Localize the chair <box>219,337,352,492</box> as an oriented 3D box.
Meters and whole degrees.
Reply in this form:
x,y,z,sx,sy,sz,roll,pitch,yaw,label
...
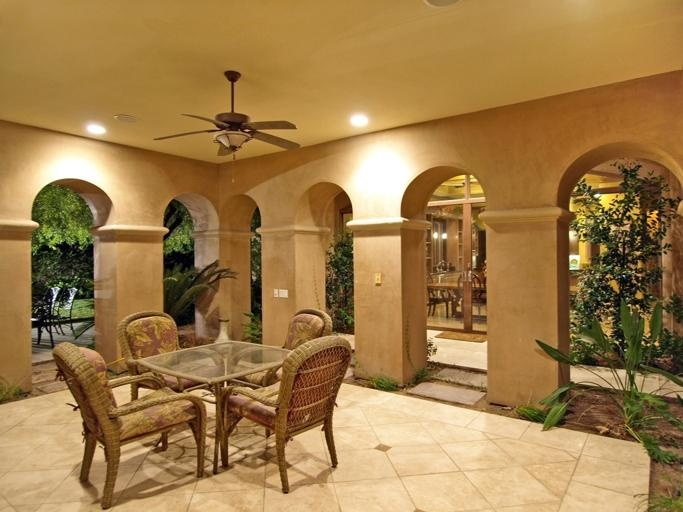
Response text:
x,y,z,sx,sy,sz,roll,pitch,yaw,label
-0.477,1.281,4.001,0.959,1.079,1.023,2,-2,-38,chair

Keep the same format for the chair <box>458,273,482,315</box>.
x,y,z,sx,sy,sz,roll,pitch,yaw,label
2.398,0.681,8.563,0.506,0.791,0.241,2,12,15,chair

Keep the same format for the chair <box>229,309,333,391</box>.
x,y,z,sx,sy,sz,roll,pitch,yaw,label
-0.695,1.008,5.097,0.893,1.230,0.757,18,-22,-36,chair

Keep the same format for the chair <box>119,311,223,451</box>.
x,y,z,sx,sy,sz,roll,pitch,yaw,label
-1.620,1.122,4.754,0.997,1.216,0.917,-14,-5,4,chair

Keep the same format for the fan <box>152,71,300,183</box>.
x,y,z,sx,sy,sz,roll,pitch,yaw,label
-1.006,-1.300,4.244,1.152,0.672,1.118,1,3,-11,fan

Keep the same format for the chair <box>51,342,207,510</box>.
x,y,z,sx,sy,sz,roll,pitch,yaw,label
-1.859,1.214,4.211,1.372,1.513,1.124,-2,3,-44,chair
